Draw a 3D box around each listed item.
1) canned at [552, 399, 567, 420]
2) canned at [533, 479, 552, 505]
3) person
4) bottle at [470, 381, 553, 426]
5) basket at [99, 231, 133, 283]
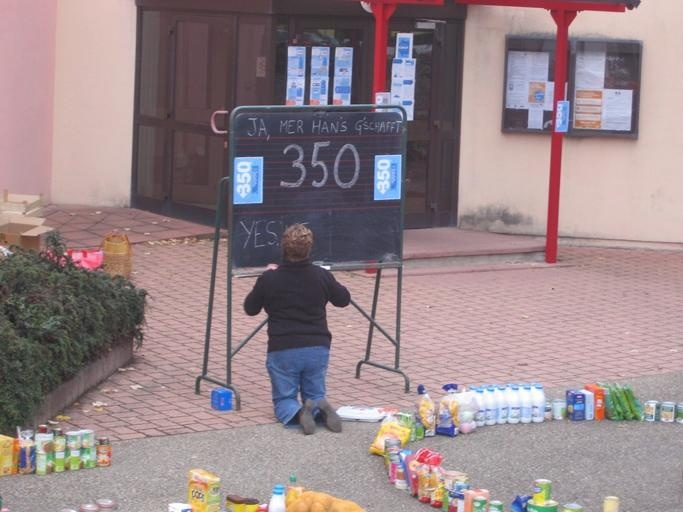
[{"bbox_3d":[1.884,1.335,9.843,0.164,0.196,0.169,2,5,28],"label":"canned"},{"bbox_3d":[1.427,1.695,8.081,0.152,0.139,0.155,0,2,-7],"label":"canned"},{"bbox_3d":[-0.384,0.588,9.421,0.860,1.676,0.520,2,7,-5],"label":"person"},{"bbox_3d":[1.452,1.280,9.645,0.388,0.163,0.059,-1,-3,-15],"label":"bottle"},{"bbox_3d":[-2.672,0.015,13.330,0.348,0.529,0.684,1,6,-12],"label":"basket"}]
